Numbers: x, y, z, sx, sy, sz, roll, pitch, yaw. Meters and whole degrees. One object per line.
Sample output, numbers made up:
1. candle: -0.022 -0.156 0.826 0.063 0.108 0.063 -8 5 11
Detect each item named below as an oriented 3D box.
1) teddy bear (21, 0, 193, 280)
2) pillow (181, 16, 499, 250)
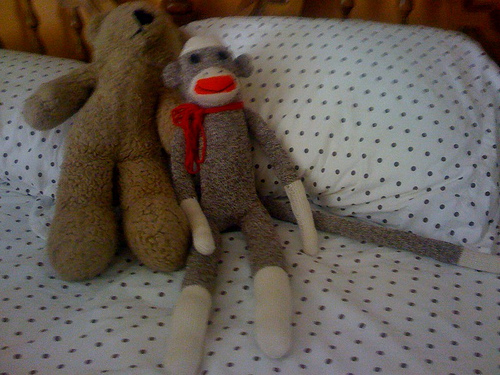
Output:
1. teddy bear: -0.424 -0.109 1.607 0.612 0.332 0.748 4 69 -7
2. pillow: 0.367 -0.227 1.542 1.014 0.413 0.551 23 48 22
